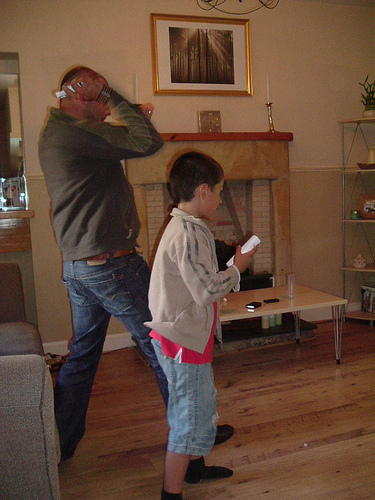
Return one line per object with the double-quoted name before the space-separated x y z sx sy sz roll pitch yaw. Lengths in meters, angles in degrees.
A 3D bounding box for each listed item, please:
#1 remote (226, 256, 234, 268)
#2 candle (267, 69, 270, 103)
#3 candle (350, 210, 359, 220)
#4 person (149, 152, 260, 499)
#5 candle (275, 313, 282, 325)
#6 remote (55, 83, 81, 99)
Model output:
"remote" 0.151 0.043 1.440 0.007 0.026 0.027 29 -28 -21
"candle" 0.706 -1.446 3.611 0.025 0.289 0.146 -2 4 12
"candle" 1.561 -0.326 3.876 0.090 0.076 0.086 2 1 11
"person" 0.029 0.240 1.333 0.287 1.109 0.280 -3 4 -6
"candle" 0.741 0.556 3.353 0.050 0.086 0.095 -2 4 12
"remote" -0.663 -0.882 2.316 0.052 0.063 0.264 36 26 7
